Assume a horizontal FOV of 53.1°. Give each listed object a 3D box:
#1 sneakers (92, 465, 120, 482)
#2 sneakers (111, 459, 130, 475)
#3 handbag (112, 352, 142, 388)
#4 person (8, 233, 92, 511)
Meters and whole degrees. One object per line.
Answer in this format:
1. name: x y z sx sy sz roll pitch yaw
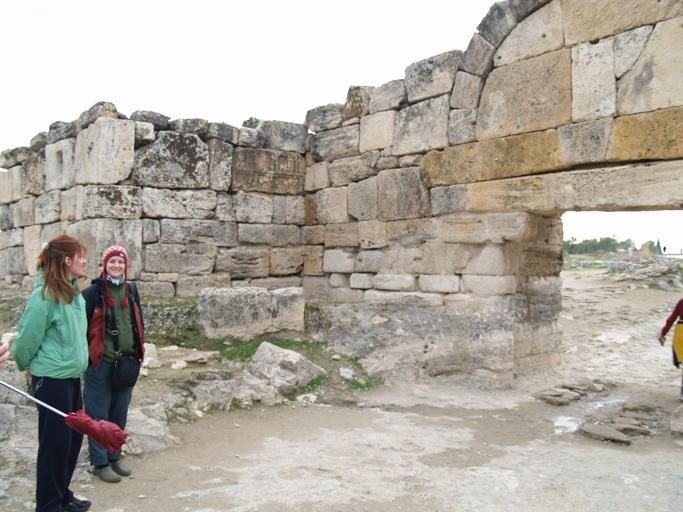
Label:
1. sneakers: -2.000 1.823 5.807 0.216 0.077 0.112 5 6 25
2. sneakers: -1.903 1.819 5.915 0.212 0.085 0.079 1 3 38
3. handbag: -1.873 0.970 5.908 0.302 0.351 0.191 11 -8 -36
4. person: -2.300 0.916 5.413 0.553 2.115 0.707 -1 10 -23
